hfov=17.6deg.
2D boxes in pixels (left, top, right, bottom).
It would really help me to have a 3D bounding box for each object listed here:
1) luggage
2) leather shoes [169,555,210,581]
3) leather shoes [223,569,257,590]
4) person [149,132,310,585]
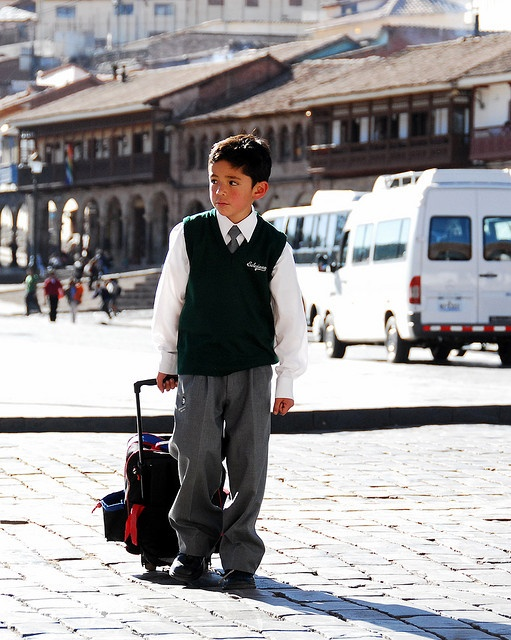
[{"bbox_3d":[-0.439,0.599,6.597,0.356,0.713,0.359,1,2,-10],"label":"luggage"},{"bbox_3d":[-0.255,0.947,6.291,0.127,0.112,0.091,0,3,-7],"label":"leather shoes"},{"bbox_3d":[-0.059,0.977,6.225,0.118,0.067,0.100,0,3,-1],"label":"leather shoes"},{"bbox_3d":[-0.092,0.143,6.339,0.597,1.735,0.361,0,3,-2],"label":"person"}]
